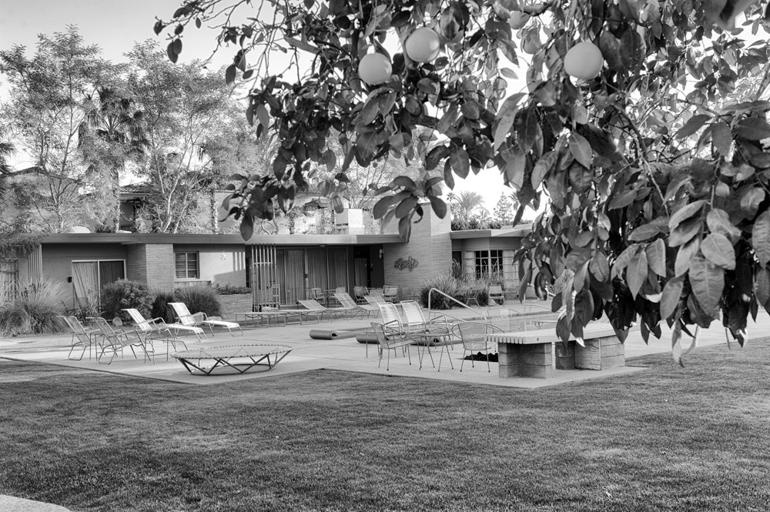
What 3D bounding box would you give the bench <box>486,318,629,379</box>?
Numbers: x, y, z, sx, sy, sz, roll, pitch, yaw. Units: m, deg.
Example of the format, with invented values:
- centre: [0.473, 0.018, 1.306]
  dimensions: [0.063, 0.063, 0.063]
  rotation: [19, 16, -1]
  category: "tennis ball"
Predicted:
- centre: [2.613, 1.407, 9.851]
  dimensions: [2.029, 0.631, 0.892]
  rotation: [-2, 1, -34]
  category: "bench"
